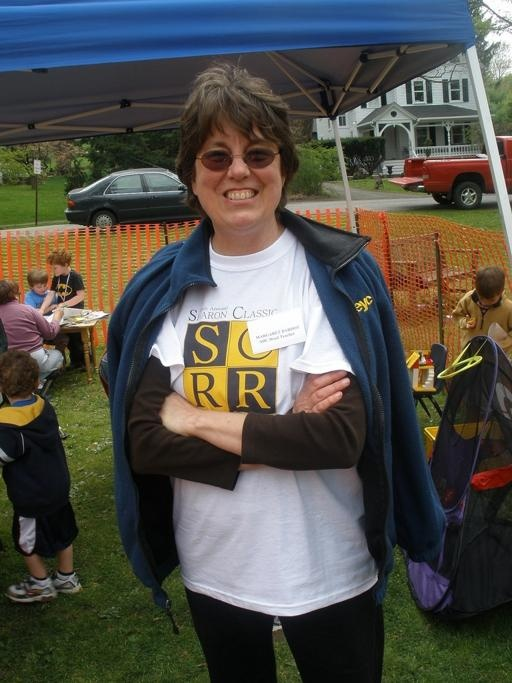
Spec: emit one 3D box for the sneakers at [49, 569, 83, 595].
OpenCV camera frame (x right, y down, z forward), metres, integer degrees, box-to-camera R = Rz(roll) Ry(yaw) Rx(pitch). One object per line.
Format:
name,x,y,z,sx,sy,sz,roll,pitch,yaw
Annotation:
sneakers,-1.060,1.360,3.166,0.218,0.089,0.079,5,10,9

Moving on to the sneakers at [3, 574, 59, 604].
sneakers,-1.224,1.372,3.121,0.298,0.141,0.113,2,5,-4
